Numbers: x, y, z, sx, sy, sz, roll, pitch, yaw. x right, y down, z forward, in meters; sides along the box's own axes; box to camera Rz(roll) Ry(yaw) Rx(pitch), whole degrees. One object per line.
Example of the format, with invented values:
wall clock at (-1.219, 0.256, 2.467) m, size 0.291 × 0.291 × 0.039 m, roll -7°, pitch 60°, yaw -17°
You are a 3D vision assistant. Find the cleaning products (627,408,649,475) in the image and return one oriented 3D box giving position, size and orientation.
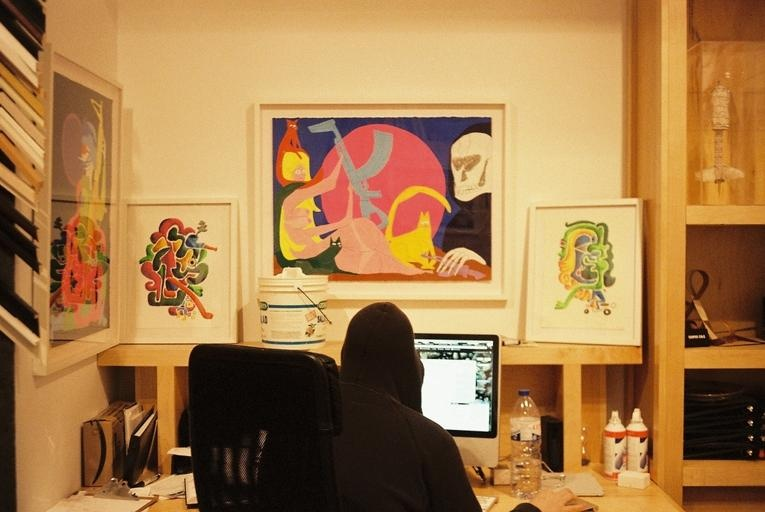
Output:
cleaning products at (1.136, 0.823, 3.393) m, size 0.095 × 0.272 × 0.067 m, roll -3°, pitch -6°, yaw 15°

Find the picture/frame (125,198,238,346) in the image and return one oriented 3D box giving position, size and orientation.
picture/frame at (-0.970, 0.104, 3.580) m, size 0.668 × 0.828 × 0.060 m, roll -1°, pitch 0°, yaw 0°

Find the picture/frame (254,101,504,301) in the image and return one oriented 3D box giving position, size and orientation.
picture/frame at (0.027, -0.258, 3.614) m, size 0.935 × 0.706 × 0.045 m, roll 0°, pitch 1°, yaw 2°

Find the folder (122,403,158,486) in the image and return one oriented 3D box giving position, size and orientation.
folder at (-1.095, 0.859, 3.405) m, size 0.089 × 0.271 × 0.284 m, roll 6°, pitch 8°, yaw 2°

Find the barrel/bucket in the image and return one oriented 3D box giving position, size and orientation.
barrel/bucket at (-0.430, 0.242, 3.549) m, size 0.369 × 0.370 × 0.351 m, roll -1°, pitch -1°, yaw 0°
